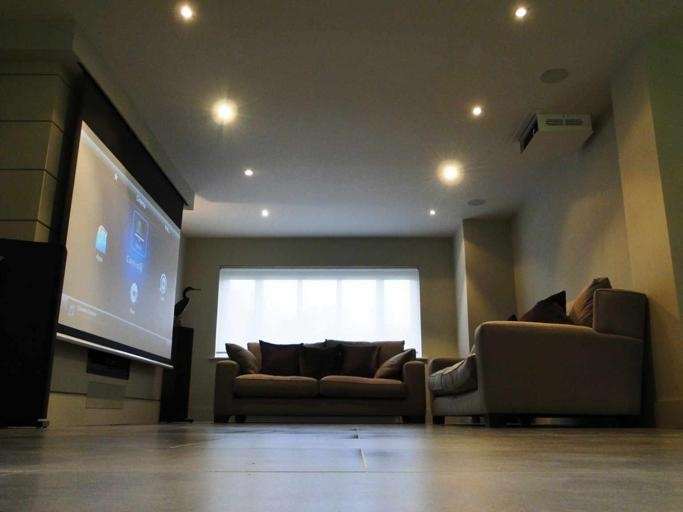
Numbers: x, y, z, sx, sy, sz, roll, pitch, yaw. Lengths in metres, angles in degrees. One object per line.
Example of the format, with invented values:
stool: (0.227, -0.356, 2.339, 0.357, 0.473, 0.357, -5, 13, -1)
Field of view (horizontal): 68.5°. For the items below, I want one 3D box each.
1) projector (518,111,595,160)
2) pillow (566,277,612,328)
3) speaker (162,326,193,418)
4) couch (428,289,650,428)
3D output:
projector: (1.841, -0.999, 4.372, 0.564, 0.156, 0.659, 1, -17, 0)
pillow: (1.696, 0.304, 3.572, 0.124, 0.344, 0.324, 13, 9, 11)
speaker: (-1.850, 1.317, 5.700, 0.158, 1.076, 0.511, -4, -16, 19)
couch: (1.413, 0.749, 3.366, 0.768, 0.727, 1.123, 2, -21, 6)
